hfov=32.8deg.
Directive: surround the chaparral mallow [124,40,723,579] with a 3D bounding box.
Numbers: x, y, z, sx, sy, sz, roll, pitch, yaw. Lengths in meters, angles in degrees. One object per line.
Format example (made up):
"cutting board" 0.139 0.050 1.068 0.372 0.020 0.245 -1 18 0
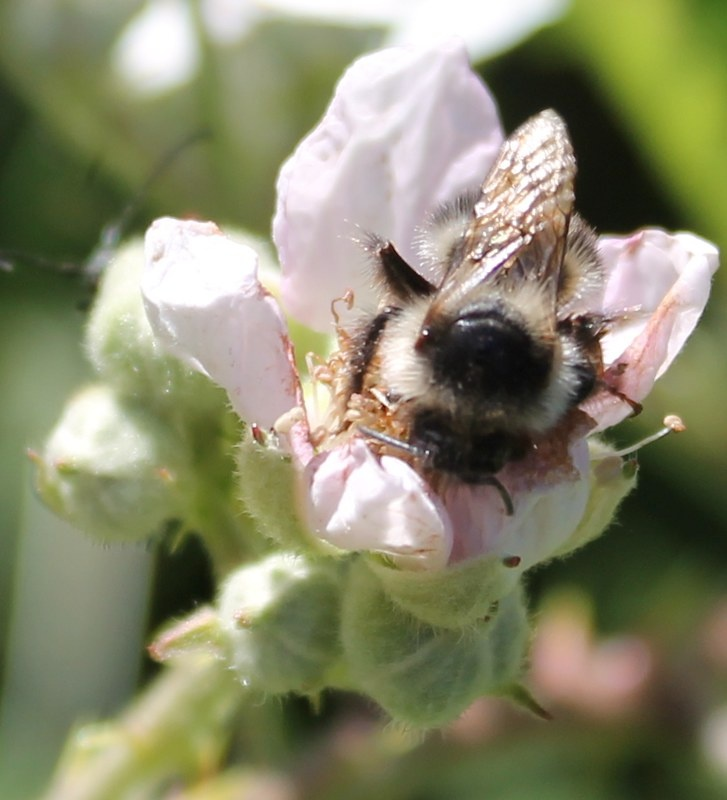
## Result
"chaparral mallow" 0.006 -0.010 0.848 0.360 0.161 0.404 3 53 -4
